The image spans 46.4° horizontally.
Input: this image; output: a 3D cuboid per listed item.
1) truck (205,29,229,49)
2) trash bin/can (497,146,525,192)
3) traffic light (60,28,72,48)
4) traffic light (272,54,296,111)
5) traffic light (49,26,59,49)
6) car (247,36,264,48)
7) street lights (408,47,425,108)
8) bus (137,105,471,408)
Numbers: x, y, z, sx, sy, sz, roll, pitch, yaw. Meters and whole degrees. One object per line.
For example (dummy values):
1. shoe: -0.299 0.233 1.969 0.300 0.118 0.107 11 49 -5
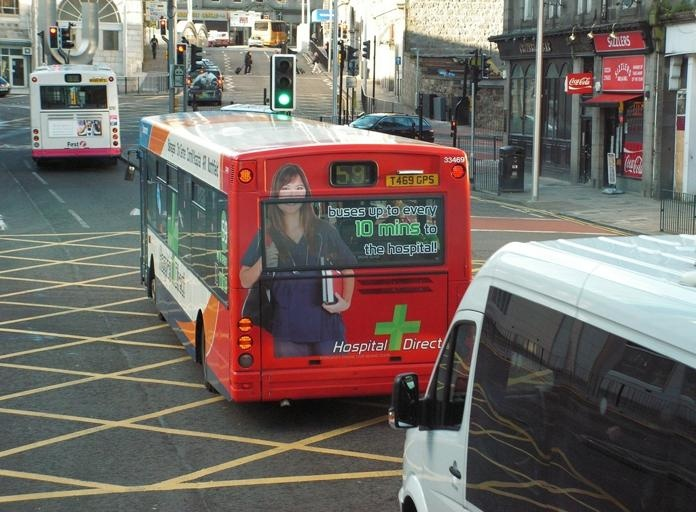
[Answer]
1. truck: -19.030 -31.883 119.766 2.031 2.327 5.083 3 11 12
2. trash bin/can: 5.854 -3.145 29.426 1.177 1.614 0.533 -4 10 -29
3. traffic light: -14.476 -11.318 42.043 0.457 0.914 1.286 -3 11 -23
4. traffic light: -1.190 -3.189 14.939 0.430 1.044 0.467 -1 9 -9
5. traffic light: -14.430 -10.832 40.013 0.373 0.924 0.910 -3 11 -24
6. car: -13.752 -32.432 123.369 2.319 1.597 3.765 0 11 -8
7. street lights: 5.727 -14.362 65.570 0.769 5.067 0.693 -7 17 -10
8. bus: -0.937 -0.538 10.682 2.180 2.324 5.006 -3 16 -14
